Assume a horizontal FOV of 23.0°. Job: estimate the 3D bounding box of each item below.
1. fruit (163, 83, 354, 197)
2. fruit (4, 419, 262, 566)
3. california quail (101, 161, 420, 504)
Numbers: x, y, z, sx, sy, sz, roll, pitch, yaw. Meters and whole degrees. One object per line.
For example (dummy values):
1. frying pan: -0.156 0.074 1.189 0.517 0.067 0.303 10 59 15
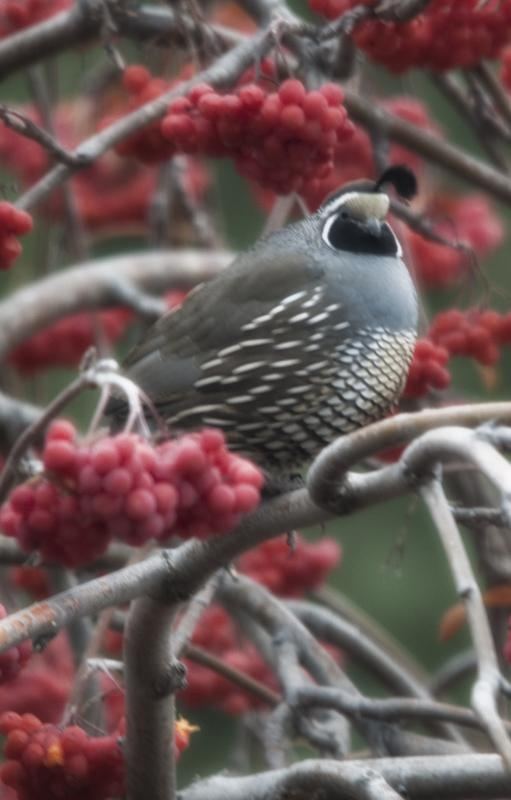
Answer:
1. fruit: 0.000 -0.195 0.920 0.154 0.065 0.118 -6 33 1
2. fruit: -0.075 0.060 0.789 0.146 0.082 0.057 -6 37 -5
3. california quail: 0.004 -0.057 1.027 0.297 0.233 0.180 6 18 30
